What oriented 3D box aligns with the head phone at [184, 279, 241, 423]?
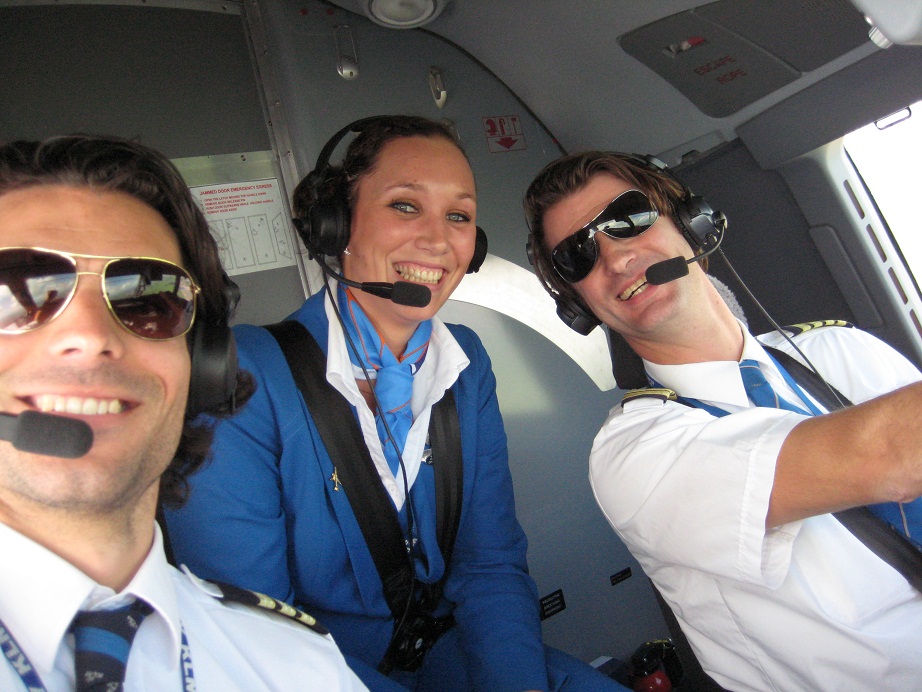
[{"bbox_3d":[-0.638,0.017,1.887,0.140,0.355,0.278,-3,-5,2],"label":"head phone"}]
